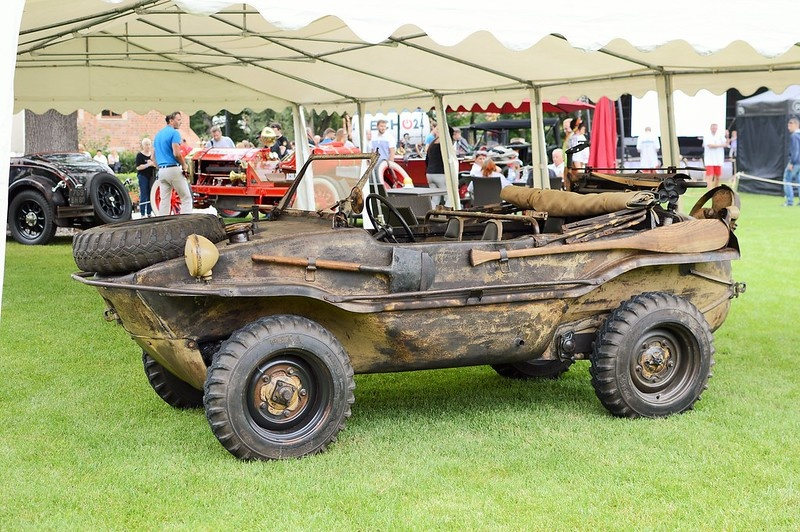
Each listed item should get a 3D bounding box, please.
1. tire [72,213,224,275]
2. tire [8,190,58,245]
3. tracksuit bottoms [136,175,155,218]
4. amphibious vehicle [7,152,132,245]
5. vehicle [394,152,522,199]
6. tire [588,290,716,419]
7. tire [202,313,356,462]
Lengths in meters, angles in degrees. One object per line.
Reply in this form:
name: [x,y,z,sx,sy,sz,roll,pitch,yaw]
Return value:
tire: [-2.094,-0.230,6.290,1.124,0.343,1.187,5,19,37]
tire: [-7.050,-0.965,14.690,0.875,1.078,0.328,-5,-1,14]
tracksuit bottoms: [-6.115,-1.720,18.500,0.353,1.086,0.230,0,16,-26]
amphibious vehicle: [-6.044,-1.206,13.712,3.179,1.634,1.954,4,4,24]
vehicle: [1.448,-2.286,19.795,3.468,0.740,3.799,-4,7,10]
tire: [2.153,0.769,6.483,1.189,1.350,0.327,-13,16,-7]
tire: [-0.930,0.932,5.736,0.977,1.068,0.324,0,1,-18]
